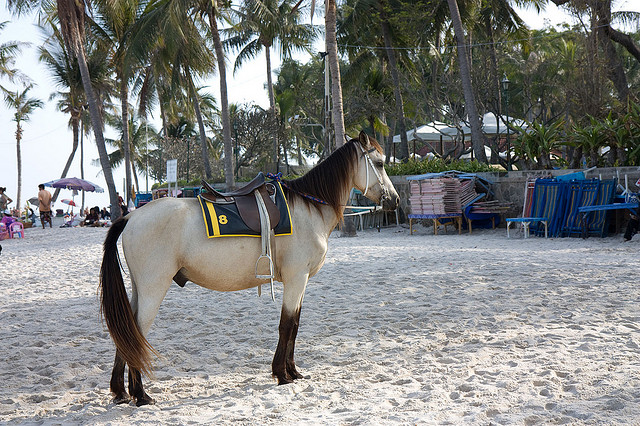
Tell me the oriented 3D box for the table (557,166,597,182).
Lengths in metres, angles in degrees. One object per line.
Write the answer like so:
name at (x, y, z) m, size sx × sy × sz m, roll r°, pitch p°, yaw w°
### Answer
table at (7.621, -1.136, 18.420) m, size 0.991 × 0.389 × 0.476 m, roll 0°, pitch 1°, yaw 22°

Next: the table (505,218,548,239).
table at (6.271, 0.484, 18.633) m, size 1.238 × 0.620 × 0.898 m, roll -1°, pitch 1°, yaw -14°

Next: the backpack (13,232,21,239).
backpack at (-12.072, 0.925, 24.586) m, size 0.288 × 0.295 × 0.295 m, roll -1°, pitch 8°, yaw -18°

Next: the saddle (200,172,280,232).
saddle at (-1.244, -0.193, 9.953) m, size 1.305 × 0.984 × 1.095 m, roll -15°, pitch 15°, yaw -18°

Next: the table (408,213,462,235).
table at (3.880, 0.393, 20.750) m, size 1.741 × 0.726 × 1.118 m, roll 0°, pitch 1°, yaw 11°

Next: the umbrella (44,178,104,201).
umbrella at (-11.617, -1.142, 28.683) m, size 1.965 × 1.394 × 2.005 m, roll 2°, pitch -8°, yaw 3°
